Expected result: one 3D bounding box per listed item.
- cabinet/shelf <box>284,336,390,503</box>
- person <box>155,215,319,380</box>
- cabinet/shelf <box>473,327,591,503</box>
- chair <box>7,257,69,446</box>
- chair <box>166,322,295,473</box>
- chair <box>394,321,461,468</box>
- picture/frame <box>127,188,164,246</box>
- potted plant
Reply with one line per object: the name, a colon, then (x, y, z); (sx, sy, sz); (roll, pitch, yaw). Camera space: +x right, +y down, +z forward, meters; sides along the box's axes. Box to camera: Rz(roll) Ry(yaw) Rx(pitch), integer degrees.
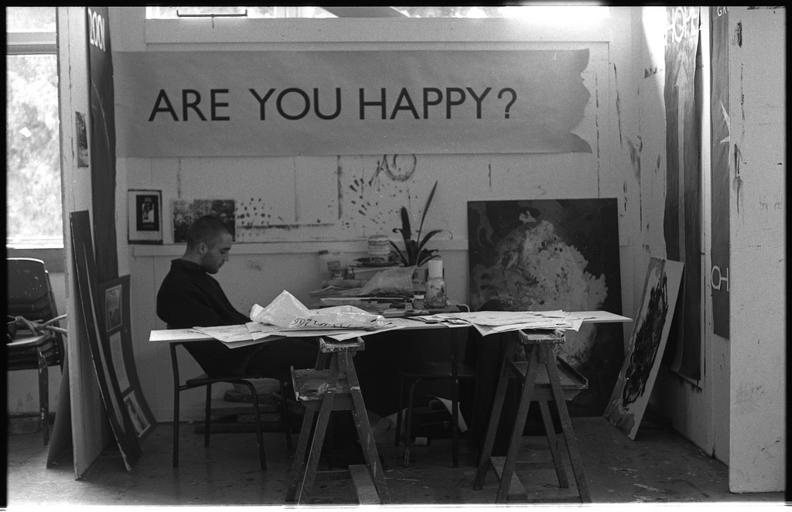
cabinet/shelf: (-0.435, 1.089, 4.615); (0.647, 1.201, 0.836); (-3, 7, -16)
person: (-1.250, 0.446, 6.180); (1.809, 1.423, 0.933); (4, 5, -12)
cabinet/shelf: (0.910, 1.045, 4.736); (0.744, 1.194, 0.716); (-1, 7, 1)
chair: (-3.060, 0.777, 5.791); (0.419, 1.485, 0.744); (-5, 8, -29)
chair: (-1.162, 0.968, 5.130); (1.187, 1.093, 0.968); (-5, -12, -22)
chair: (0.268, 1.034, 5.410); (0.511, 1.034, 0.759); (-1, 7, 4)
picture/frame: (-2.194, -0.356, 6.040); (0.297, 0.416, 0.226); (-1, -6, -19)
potted plant: (0.184, -0.214, 6.010); (0.488, 0.894, 0.266); (-1, 7, 3)
